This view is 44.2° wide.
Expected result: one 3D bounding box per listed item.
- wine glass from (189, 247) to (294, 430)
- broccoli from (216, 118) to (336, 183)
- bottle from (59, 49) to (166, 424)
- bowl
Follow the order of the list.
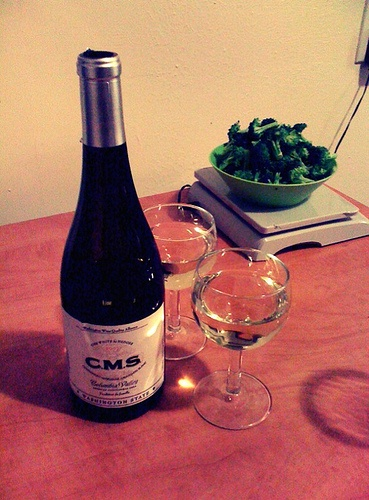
[{"bbox_3d":[0.057,0.095,0.466,0.093,0.154,0.091,20,42,24],"label":"wine glass"},{"bbox_3d":[0.171,-0.201,0.771,0.149,0.063,0.147,-22,33,-39],"label":"broccoli"},{"bbox_3d":[-0.064,0.007,0.386,0.095,0.326,0.109,-2,30,-7],"label":"bottle"},{"bbox_3d":[0.146,-0.113,0.764,0.199,0.060,0.194,6,-12,1],"label":"bowl"}]
